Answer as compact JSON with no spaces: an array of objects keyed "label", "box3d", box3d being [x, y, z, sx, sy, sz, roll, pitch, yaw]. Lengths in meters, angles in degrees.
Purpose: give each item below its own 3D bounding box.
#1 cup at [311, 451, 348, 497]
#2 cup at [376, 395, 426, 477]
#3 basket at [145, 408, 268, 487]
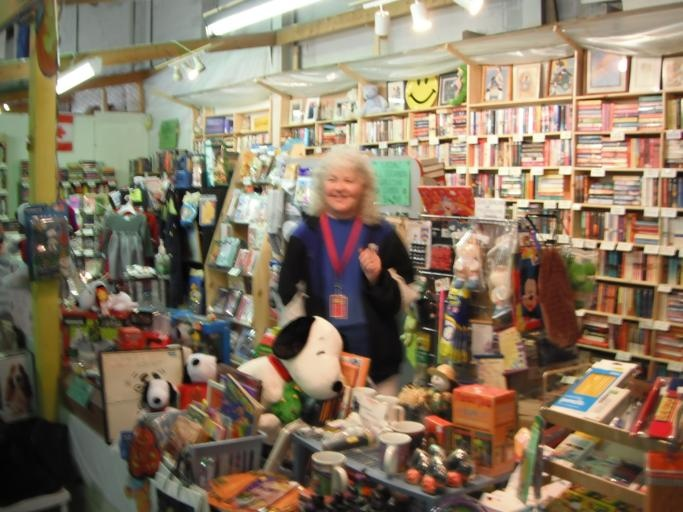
[{"label":"cup","box3d":[-0.047,0.741,1.824,0.123,0.118,0.125,-1,0,0]},{"label":"cup","box3d":[0.211,0.652,1.851,0.125,0.185,0.190,6,2,18]},{"label":"basket","box3d":[-0.600,0.789,2.234,0.596,0.215,0.295,6,6,42]}]
